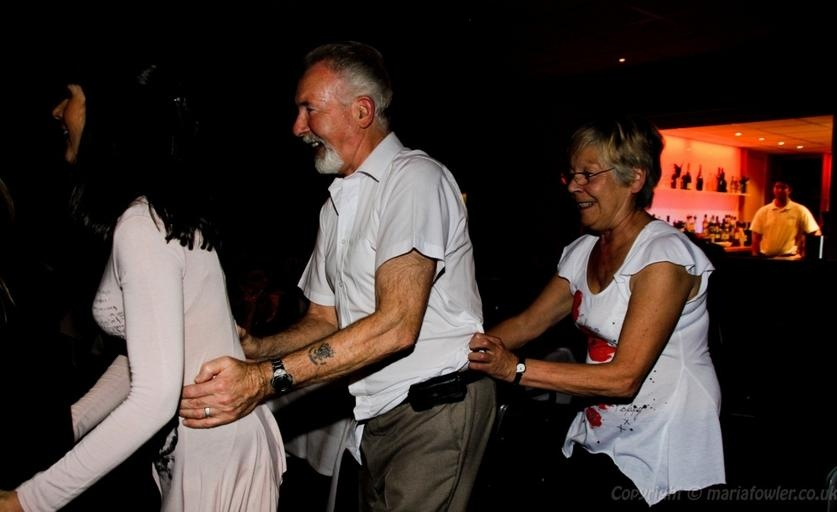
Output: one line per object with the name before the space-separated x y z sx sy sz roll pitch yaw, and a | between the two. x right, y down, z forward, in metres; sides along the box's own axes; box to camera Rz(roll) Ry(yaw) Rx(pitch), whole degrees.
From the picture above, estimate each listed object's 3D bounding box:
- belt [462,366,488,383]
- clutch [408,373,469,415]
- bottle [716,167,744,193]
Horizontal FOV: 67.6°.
belt | 0.280 0.598 3.150 0.099 0.066 0.027 -4 -15 -21
clutch | 0.094 0.670 3.115 0.296 0.186 0.085 0 8 -1
bottle | 4.343 -1.071 8.798 0.382 0.333 0.141 1 3 -3
